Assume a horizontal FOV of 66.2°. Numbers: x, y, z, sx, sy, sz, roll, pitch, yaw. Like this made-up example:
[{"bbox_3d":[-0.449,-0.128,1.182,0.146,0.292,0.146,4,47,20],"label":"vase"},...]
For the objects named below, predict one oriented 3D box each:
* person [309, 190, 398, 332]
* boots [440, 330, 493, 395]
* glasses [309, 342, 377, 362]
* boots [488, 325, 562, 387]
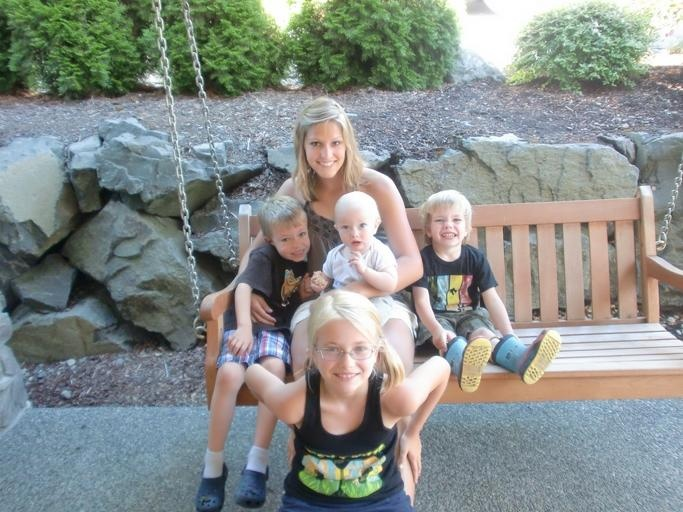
[{"bbox_3d":[0.157,0.007,2.907,0.636,0.887,0.544,1,8,10],"label":"person"},{"bbox_3d":[0.619,0.513,2.626,0.137,0.402,0.179,0,18,-9],"label":"boots"},{"bbox_3d":[0.019,0.404,2.193,0.230,0.071,0.037,-4,18,0],"label":"glasses"},{"bbox_3d":[0.902,0.438,2.691,0.387,0.174,0.136,-34,16,44],"label":"boots"}]
